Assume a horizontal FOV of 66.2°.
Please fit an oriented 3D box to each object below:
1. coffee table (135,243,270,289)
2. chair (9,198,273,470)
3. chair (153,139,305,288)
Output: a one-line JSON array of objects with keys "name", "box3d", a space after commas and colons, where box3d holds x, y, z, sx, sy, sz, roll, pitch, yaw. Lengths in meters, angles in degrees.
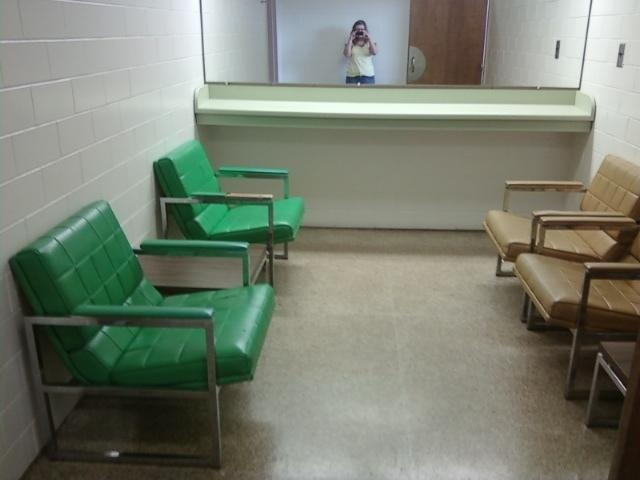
[{"name": "coffee table", "box3d": [-0.655, 0.134, 2.691, 0.393, 0.139, 0.400, 1, 16, -7]}, {"name": "chair", "box3d": [-0.753, 0.408, 2.268, 0.967, 0.941, 0.699, 2, 25, 3]}, {"name": "chair", "box3d": [-0.543, -0.222, 3.466, 1.028, 1.026, 0.914, 3, 25, 3]}]
